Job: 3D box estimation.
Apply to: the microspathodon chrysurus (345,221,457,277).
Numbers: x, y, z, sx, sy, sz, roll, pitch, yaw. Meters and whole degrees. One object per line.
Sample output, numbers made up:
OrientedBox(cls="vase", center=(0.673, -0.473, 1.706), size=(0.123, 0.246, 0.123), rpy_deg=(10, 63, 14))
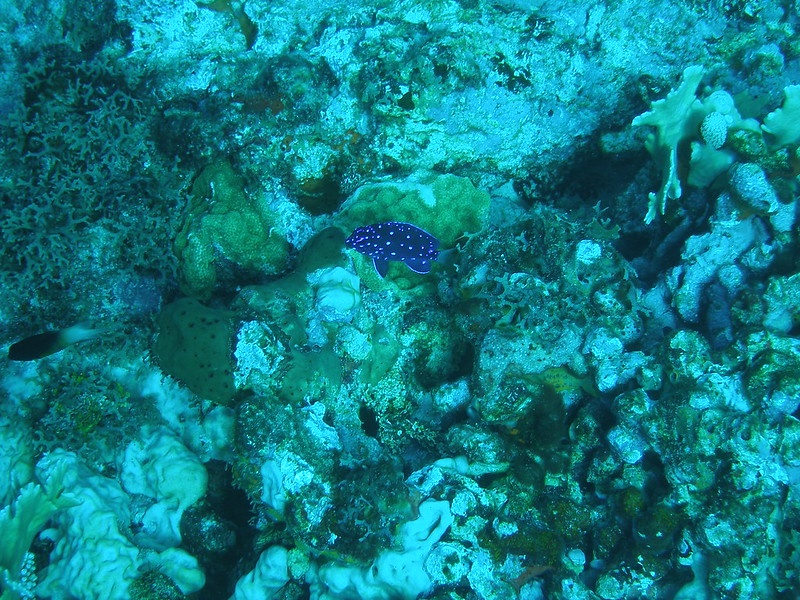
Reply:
OrientedBox(cls="microspathodon chrysurus", center=(0.015, -0.500, 8.594), size=(0.820, 0.473, 0.189), rpy_deg=(11, 28, -1))
